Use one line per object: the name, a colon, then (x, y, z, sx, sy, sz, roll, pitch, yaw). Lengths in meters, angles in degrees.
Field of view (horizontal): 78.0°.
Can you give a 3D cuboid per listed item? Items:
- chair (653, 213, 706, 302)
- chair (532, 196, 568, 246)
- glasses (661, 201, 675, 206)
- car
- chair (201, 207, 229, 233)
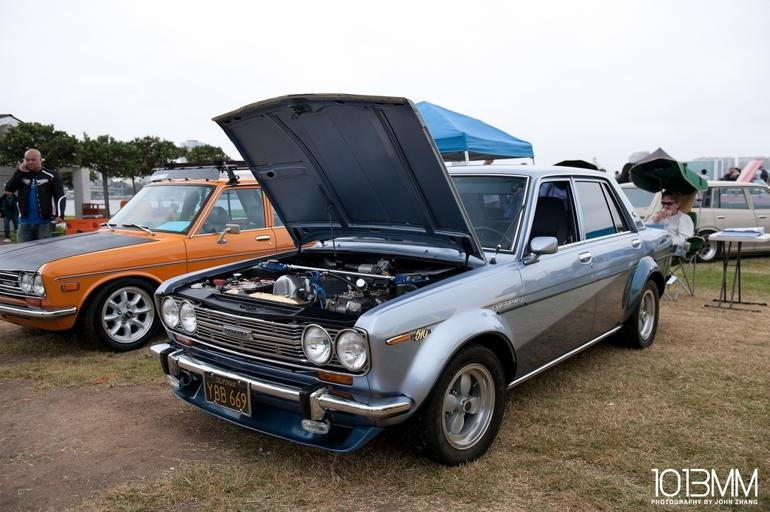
chair: (5.127, -0.051, 8.268, 0.995, 1.048, 0.946, -17, 4, 27)
chair: (1.550, -0.312, 4.545, 0.415, 0.452, 0.450, 0, 7, 28)
glasses: (4.853, -0.919, 8.125, 0.149, 0.037, 0.128, 1, 1, -27)
car: (0.613, -0.104, 4.947, 4.940, 1.858, 2.750, -9, 9, -40)
chair: (-2.293, -0.499, 6.482, 0.373, 0.317, 0.441, 3, 5, 4)
